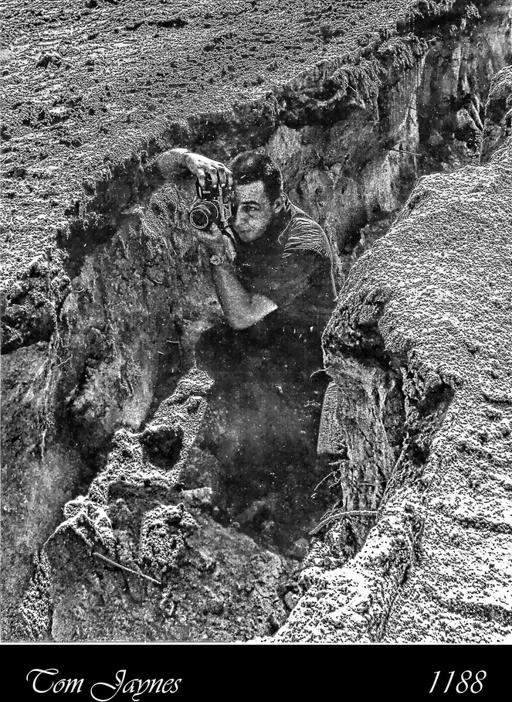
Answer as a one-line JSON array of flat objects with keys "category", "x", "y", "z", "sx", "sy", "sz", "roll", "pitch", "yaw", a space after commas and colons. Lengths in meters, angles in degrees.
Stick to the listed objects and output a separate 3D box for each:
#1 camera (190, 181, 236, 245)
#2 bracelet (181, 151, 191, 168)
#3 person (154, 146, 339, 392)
[{"category": "camera", "x": -0.171, "y": -0.539, "z": 6.443, "sx": 0.195, "sy": 0.171, "sz": 0.189, "roll": -13, "pitch": 25, "yaw": -36}, {"category": "bracelet", "x": -0.249, "y": -0.715, "z": 6.499, "sx": 0.012, "sy": 0.049, "sz": 0.053, "roll": 3, "pitch": 90, "yaw": 6}, {"category": "person", "x": 0.000, "y": -0.310, "z": 6.722, "sx": 0.654, "sy": 1.024, "sz": 0.533, "roll": -8, "pitch": 41, "yaw": -10}]
